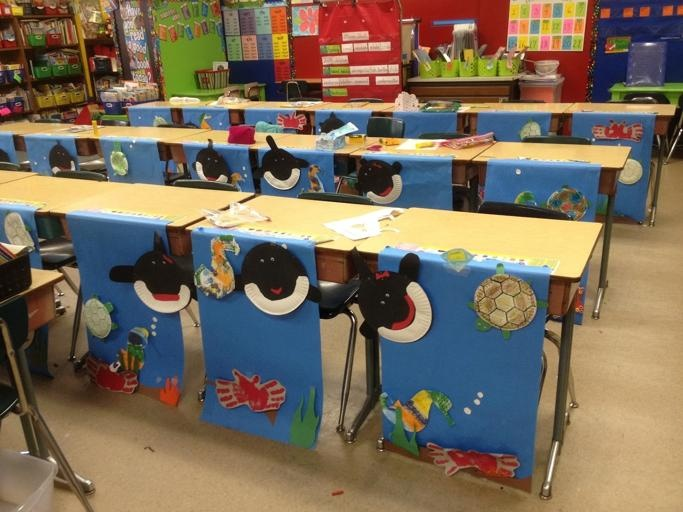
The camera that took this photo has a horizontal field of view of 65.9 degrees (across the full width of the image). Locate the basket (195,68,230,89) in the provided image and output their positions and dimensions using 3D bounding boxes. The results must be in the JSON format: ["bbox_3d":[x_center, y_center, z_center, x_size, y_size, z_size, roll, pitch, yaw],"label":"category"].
[{"bbox_3d":[-2.088,-2.888,8.650,0.331,0.257,0.489,5,16,17],"label":"basket"}]

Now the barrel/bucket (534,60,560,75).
[{"bbox_3d":[2.902,-2.629,7.403,0.317,0.207,0.305,-3,16,1],"label":"barrel/bucket"}]
